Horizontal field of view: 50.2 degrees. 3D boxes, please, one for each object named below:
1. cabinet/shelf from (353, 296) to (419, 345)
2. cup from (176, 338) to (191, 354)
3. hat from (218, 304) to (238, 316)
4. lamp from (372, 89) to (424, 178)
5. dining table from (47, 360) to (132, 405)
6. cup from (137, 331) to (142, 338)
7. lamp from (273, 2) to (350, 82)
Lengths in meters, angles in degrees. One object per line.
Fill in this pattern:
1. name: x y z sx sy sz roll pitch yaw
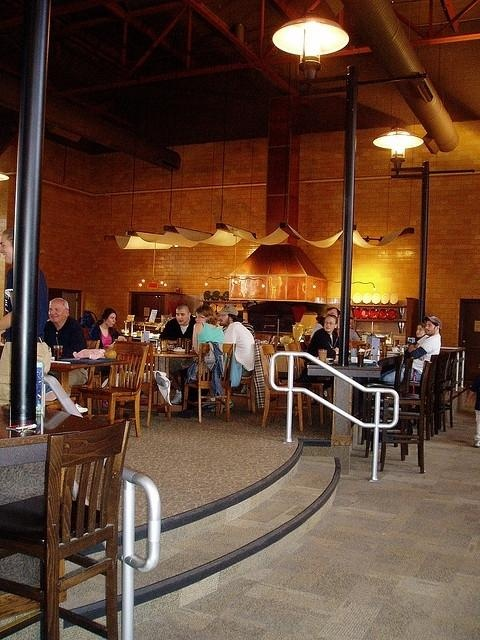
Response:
1. cabinet/shelf: 3.068 0.021 10.806 1.030 1.013 0.425 -1 -5 14
2. cup: -0.723 0.318 6.391 0.165 0.181 0.137 0 2 -27
3. hat: -0.165 -0.140 7.110 0.214 0.111 0.162 18 -6 -15
4. lamp: 2.331 -2.585 7.594 0.718 0.675 0.705 5 6 24
5. dining table: -1.515 0.494 4.688 0.641 0.389 0.639 0 -1 21
6. cup: -2.030 0.282 10.287 0.105 0.103 0.191 0 1 -13
7. lamp: 0.566 -2.320 4.217 0.641 0.526 0.637 0 2 0
